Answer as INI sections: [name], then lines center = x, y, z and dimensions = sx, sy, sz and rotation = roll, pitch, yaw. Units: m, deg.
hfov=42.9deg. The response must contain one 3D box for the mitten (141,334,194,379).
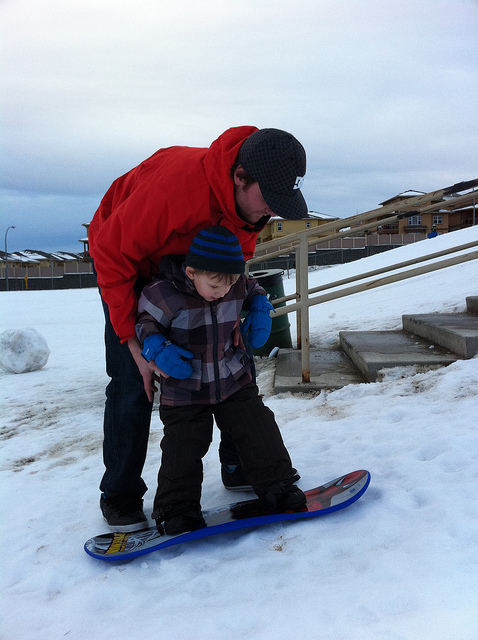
[mitten]
center = -0.241, 0.118, 2.022
dimensions = 0.175, 0.155, 0.122
rotation = -10, 7, -2

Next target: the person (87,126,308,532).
[person]
center = -0.143, 0.063, 2.196
dimensions = 0.919, 1.334, 0.585
rotation = -4, -6, 21

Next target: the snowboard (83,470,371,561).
[snowboard]
center = -0.022, 0.667, 2.076
dimensions = 1.016, 0.096, 0.263
rotation = -10, 7, -9
